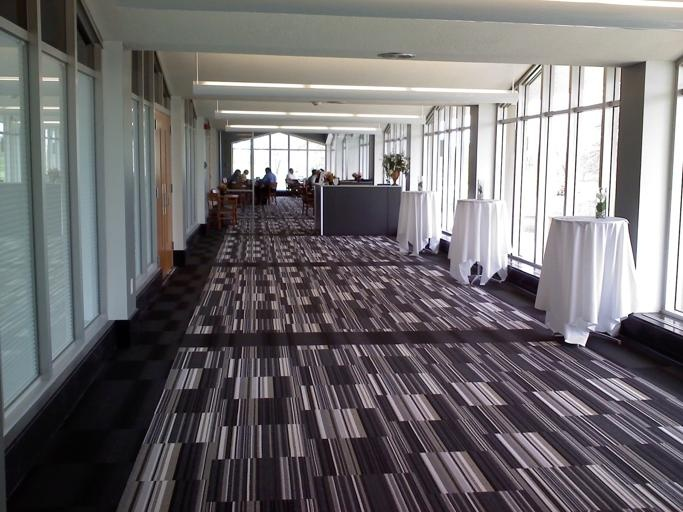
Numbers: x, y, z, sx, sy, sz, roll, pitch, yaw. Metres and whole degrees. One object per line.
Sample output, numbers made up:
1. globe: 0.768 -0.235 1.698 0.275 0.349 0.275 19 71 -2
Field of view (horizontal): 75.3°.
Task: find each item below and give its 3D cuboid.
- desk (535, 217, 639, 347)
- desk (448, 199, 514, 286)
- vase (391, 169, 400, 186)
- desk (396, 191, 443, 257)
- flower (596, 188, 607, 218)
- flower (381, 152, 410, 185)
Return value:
1. desk: 2.548 0.186 4.887 1.006 1.624 1.128 4 9 29
2. desk: 2.110 -0.257 6.880 0.710 1.162 0.822 0 4 12
3. vase: 1.446 -2.085 11.571 0.285 0.384 0.306 0 0 -12
4. desk: 1.548 -0.695 9.135 0.739 1.172 0.816 -7 15 3
5. flower: 2.591 -0.536 4.444 0.083 0.274 0.128 4 9 25
6. flower: 1.422 -2.384 11.509 0.716 0.924 0.839 -1 14 0
